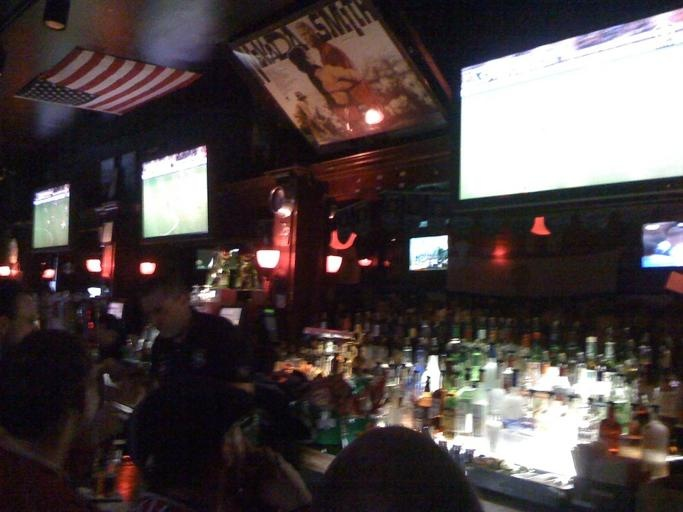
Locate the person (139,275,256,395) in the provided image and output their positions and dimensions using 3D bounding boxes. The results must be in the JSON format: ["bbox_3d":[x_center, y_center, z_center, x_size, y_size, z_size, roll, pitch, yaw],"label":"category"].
[{"bbox_3d":[-0.913,0.498,3.387,0.836,0.766,0.532,-16,-5,41],"label":"person"}]

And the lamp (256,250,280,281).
[{"bbox_3d":[-0.508,0.076,4.220,0.224,0.258,0.233,1,-2,14],"label":"lamp"}]
